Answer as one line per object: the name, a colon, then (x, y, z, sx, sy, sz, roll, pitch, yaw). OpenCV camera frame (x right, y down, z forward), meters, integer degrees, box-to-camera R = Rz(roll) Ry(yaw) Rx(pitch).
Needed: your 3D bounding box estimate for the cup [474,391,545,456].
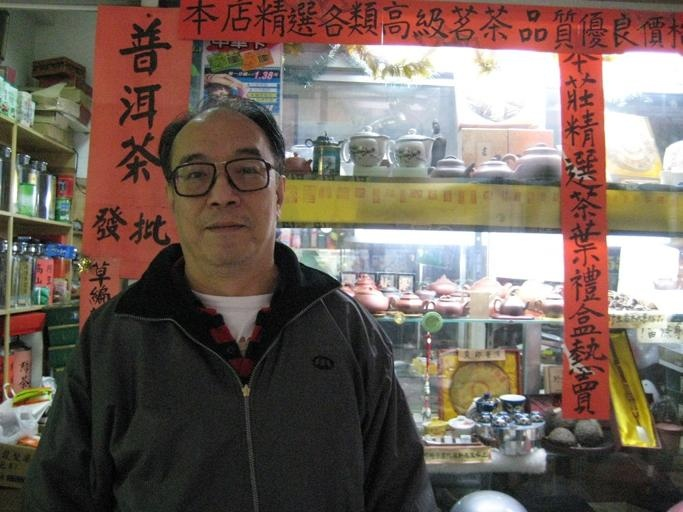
cup: (0.700, 0.704, 2.771, 0.231, 0.138, 0.268, 1, -10, 1)
